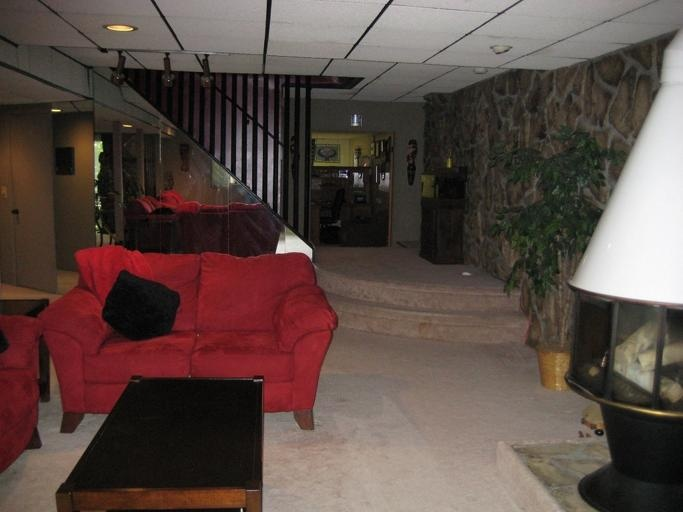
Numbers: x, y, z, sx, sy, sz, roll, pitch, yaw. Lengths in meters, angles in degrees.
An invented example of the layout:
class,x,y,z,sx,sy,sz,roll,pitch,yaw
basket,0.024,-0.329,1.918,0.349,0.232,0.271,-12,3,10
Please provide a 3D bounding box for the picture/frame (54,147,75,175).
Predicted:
class,x,y,z,sx,sy,sz,roll,pitch,yaw
picture/frame,-3.980,-1.365,7.762,0.261,0.413,0.368,-6,14,-30

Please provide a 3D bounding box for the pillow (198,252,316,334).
class,x,y,z,sx,sy,sz,roll,pitch,yaw
pillow,-0.756,0.405,4.679,0.690,0.707,0.217,-3,-13,1

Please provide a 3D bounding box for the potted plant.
class,x,y,z,sx,sy,sz,roll,pitch,yaw
potted plant,1.839,0.076,4.727,1.193,2.090,1.023,4,-9,-8

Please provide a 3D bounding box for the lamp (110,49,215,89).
class,x,y,z,sx,sy,sz,roll,pitch,yaw
lamp,-1.997,-2.051,6.054,1.034,0.298,1.320,-2,13,-15

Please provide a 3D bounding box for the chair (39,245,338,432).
class,x,y,z,sx,sy,sz,roll,pitch,yaw
chair,-1.141,0.604,4.297,2.090,1.256,1.224,0,8,-18

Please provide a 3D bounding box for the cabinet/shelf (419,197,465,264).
class,x,y,z,sx,sy,sz,roll,pitch,yaw
cabinet/shelf,1.658,-0.393,8.036,0.488,0.902,0.918,6,19,15

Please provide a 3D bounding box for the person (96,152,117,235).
class,x,y,z,sx,sy,sz,roll,pitch,yaw
person,-3.264,-0.816,7.379,0.328,1.102,0.404,7,36,-27
